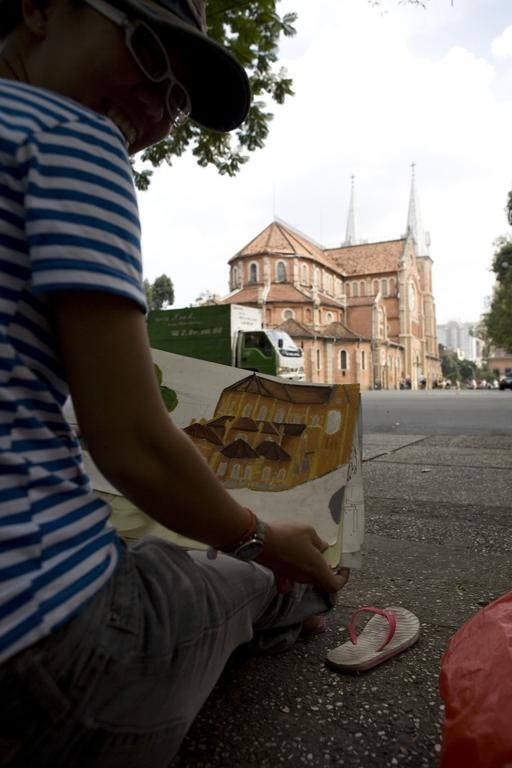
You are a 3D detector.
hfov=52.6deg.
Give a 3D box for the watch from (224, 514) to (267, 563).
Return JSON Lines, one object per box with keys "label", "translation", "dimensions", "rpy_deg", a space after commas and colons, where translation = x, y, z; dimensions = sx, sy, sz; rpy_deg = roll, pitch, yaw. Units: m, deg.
{"label": "watch", "translation": [-0.014, 0.241, 0.867], "dimensions": [0.059, 0.087, 0.085], "rpy_deg": [-10, 16, -40]}
